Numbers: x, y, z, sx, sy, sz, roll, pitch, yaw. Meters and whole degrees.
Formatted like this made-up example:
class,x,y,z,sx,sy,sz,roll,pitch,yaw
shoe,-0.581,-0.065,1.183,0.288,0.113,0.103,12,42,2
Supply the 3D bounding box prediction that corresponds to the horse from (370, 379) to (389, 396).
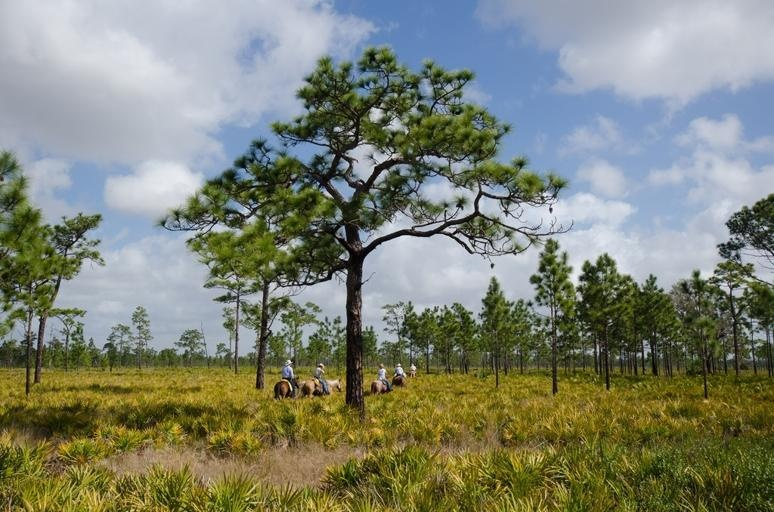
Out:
class,x,y,z,sx,sy,sz,roll,pitch,yaw
horse,-0.405,7.961,40.963,1.251,0.682,1.849,0,12,-1
